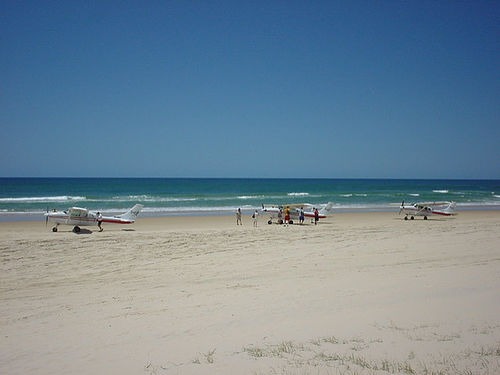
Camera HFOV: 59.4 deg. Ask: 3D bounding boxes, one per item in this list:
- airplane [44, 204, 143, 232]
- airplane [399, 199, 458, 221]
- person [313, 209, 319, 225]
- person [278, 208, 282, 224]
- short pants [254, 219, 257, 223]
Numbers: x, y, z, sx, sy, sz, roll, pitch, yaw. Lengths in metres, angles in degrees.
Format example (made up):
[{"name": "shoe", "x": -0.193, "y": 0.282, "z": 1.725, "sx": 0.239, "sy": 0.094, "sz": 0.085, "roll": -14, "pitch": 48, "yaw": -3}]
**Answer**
[{"name": "airplane", "x": -9.579, "y": 1.917, "z": 27.100, "sx": 5.600, "sy": 1.588, "sz": 3.645, "roll": 1, "pitch": -4, "yaw": -28}, {"name": "airplane", "x": 15.314, "y": 2.051, "z": 37.474, "sx": 3.548, "sy": 1.465, "sz": 5.849, "roll": -3, "pitch": -4, "yaw": 29}, {"name": "person", "x": 4.717, "y": 2.141, "z": 31.384, "sx": 0.223, "sy": 1.049, "sz": 0.645, "roll": -1, "pitch": -4, "yaw": 2}, {"name": "person", "x": 2.123, "y": 2.068, "z": 31.288, "sx": 0.255, "sy": 1.120, "sz": 0.628, "roll": -1, "pitch": -4, "yaw": 4}, {"name": "short pants", "x": 0.364, "y": 2.297, "z": 30.368, "sx": 0.243, "sy": 0.216, "sz": 0.425, "roll": 14, "pitch": -22, "yaw": 7}]
